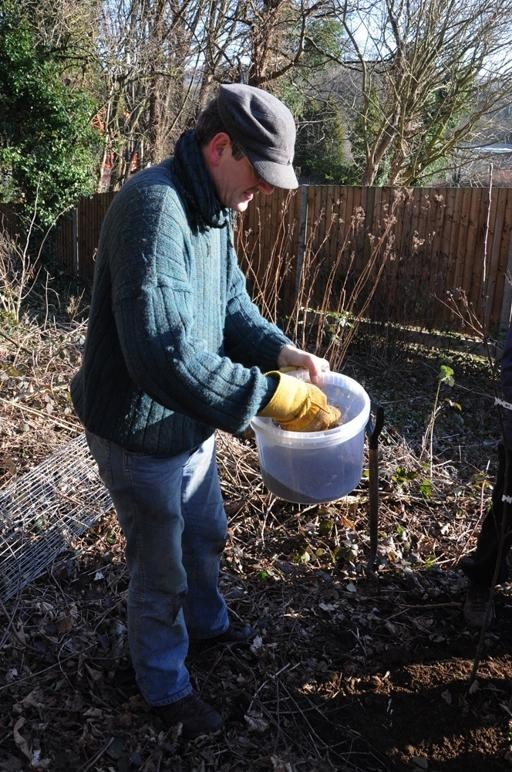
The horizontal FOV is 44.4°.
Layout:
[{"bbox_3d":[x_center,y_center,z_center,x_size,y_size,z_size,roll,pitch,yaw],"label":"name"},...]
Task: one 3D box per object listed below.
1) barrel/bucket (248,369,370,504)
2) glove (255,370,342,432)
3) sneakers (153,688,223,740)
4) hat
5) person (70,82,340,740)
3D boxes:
[{"bbox_3d":[0.181,0.181,2.141,0.413,0.319,0.421,-4,26,2],"label":"barrel/bucket"},{"bbox_3d":[0.104,0.068,1.706,0.123,0.092,0.232,-9,-25,27],"label":"glove"},{"bbox_3d":[-0.224,1.070,2.068,0.211,0.099,0.111,1,5,12],"label":"sneakers"},{"bbox_3d":[0.013,-0.646,1.625,0.235,0.249,0.196,5,12,-14],"label":"hat"},{"bbox_3d":[-0.158,0.129,1.896,0.778,1.829,0.696,6,17,13],"label":"person"}]
